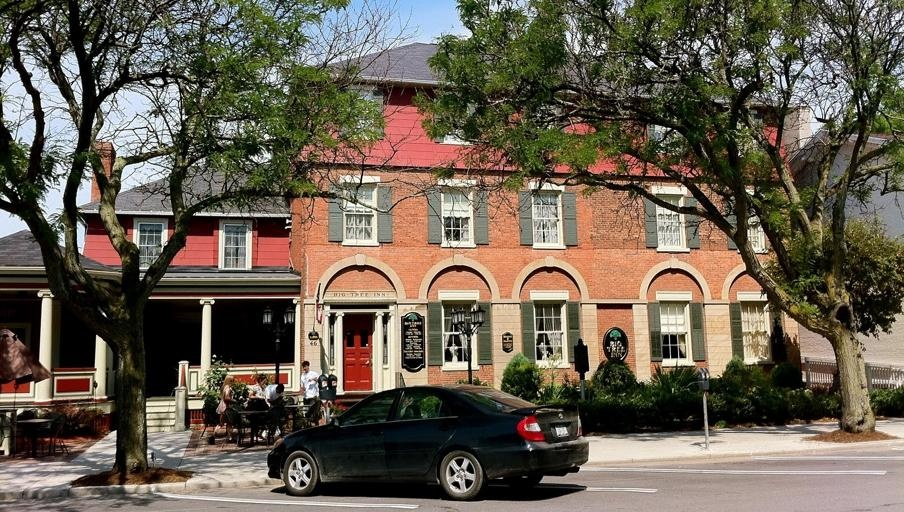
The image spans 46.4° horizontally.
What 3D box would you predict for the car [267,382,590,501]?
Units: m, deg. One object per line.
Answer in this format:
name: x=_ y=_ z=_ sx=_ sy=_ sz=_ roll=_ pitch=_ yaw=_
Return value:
car: x=-0.754 y=5.431 z=31.300 sx=8.455 sy=2.576 sz=3.621 roll=-3 pitch=-12 yaw=20
